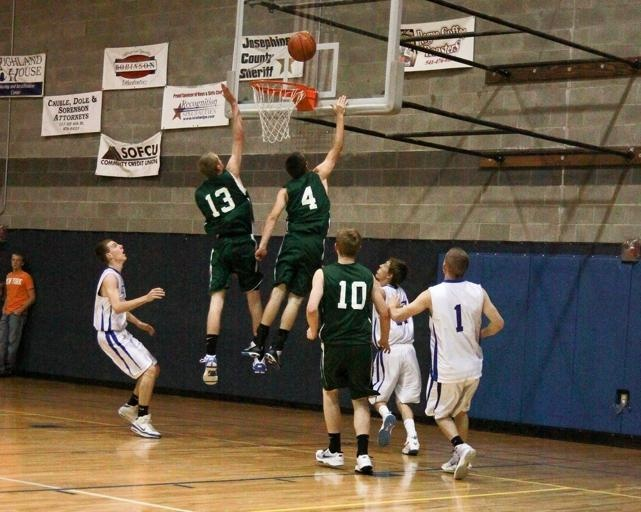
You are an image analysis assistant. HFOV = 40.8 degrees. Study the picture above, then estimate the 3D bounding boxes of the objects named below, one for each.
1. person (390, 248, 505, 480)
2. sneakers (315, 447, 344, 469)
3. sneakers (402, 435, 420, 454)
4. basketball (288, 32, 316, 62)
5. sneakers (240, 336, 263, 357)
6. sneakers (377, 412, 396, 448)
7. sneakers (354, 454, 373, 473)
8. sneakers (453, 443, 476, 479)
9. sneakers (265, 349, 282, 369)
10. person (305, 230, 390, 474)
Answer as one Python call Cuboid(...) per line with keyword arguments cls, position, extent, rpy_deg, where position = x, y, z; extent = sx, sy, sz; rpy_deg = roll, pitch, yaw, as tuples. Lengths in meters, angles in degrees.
Cuboid(cls="person", position=(1.205, 0.992, 8.110), extent=(0.906, 2.124, 0.411), rpy_deg=(5, 4, 12))
Cuboid(cls="sneakers", position=(0.083, 1.962, 8.469), extent=(0.125, 0.164, 0.345), rpy_deg=(2, 2, -40))
Cuboid(cls="sneakers", position=(0.991, 2.063, 9.508), extent=(0.112, 0.148, 0.314), rpy_deg=(0, -3, -3))
Cuboid(cls="basketball", position=(-0.240, -2.329, 9.670), extent=(0.302, 0.305, 0.315), rpy_deg=(4, 25, 38))
Cuboid(cls="sneakers", position=(-0.705, 0.965, 9.168), extent=(0.205, 0.203, 0.351), rpy_deg=(4, 4, -3))
Cuboid(cls="sneakers", position=(0.674, 1.816, 8.952), extent=(0.153, 0.362, 0.152), rpy_deg=(12, -1, -18))
Cuboid(cls="sneakers", position=(0.414, 1.964, 8.193), extent=(0.103, 0.113, 0.244), rpy_deg=(0, -3, -2))
Cuboid(cls="sneakers", position=(1.350, 1.920, 8.109), extent=(0.140, 0.420, 0.177), rpy_deg=(-6, 41, -22))
Cuboid(cls="sneakers", position=(-0.508, 1.077, 9.135), extent=(0.156, 0.239, 0.292), rpy_deg=(4, 4, -5))
Cuboid(cls="person", position=(0.246, 0.909, 8.112), extent=(0.767, 2.323, 0.593), rpy_deg=(4, 4, 3))
